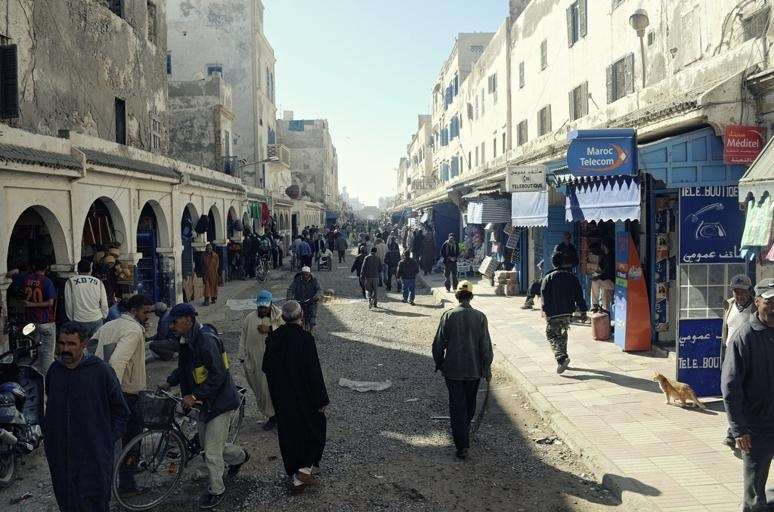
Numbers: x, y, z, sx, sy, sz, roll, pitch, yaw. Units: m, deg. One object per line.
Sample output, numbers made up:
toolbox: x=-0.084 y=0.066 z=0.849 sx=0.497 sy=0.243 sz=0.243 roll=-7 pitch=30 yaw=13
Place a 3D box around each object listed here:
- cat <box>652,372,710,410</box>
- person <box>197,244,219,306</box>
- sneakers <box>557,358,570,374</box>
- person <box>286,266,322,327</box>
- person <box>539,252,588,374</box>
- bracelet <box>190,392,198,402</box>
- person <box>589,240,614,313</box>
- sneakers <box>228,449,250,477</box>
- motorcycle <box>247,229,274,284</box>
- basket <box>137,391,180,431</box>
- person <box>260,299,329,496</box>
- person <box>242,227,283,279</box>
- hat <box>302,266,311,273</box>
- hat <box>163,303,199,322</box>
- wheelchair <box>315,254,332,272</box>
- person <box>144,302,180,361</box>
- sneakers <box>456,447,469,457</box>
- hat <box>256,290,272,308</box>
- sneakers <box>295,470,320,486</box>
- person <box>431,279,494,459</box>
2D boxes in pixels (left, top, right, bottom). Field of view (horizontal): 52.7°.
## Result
cat: x=4.958 y=2.275 z=13.235 sx=0.807 sy=0.471 sz=0.408 roll=2 pitch=13 yaw=20
person: x=-5.170 y=0.547 z=22.704 sx=0.504 sy=1.747 sz=0.709 roll=-6 pitch=13 yaw=-14
sneakers: x=3.300 y=2.052 z=14.657 sx=0.162 sy=0.373 sz=0.154 roll=12 pitch=14 yaw=-28
person: x=-1.864 y=1.015 z=17.503 sx=0.726 sy=1.527 sz=1.750 roll=3 pitch=11 yaw=0
person: x=3.402 y=1.048 z=14.844 sx=0.813 sy=2.194 sz=0.935 roll=-5 pitch=12 yaw=-8
bracelet: x=-2.782 y=2.049 z=11.270 sx=0.038 sy=0.101 sz=0.085 roll=-37 pitch=48 yaw=-6
person: x=4.650 y=0.456 z=16.848 sx=0.410 sy=1.541 sz=1.188 roll=-2 pitch=12 yaw=5
sneakers: x=-2.244 y=3.164 z=11.804 sx=0.182 sy=0.236 sz=0.514 roll=-20 pitch=-7 yaw=-14
motorcycle: x=-4.597 y=0.015 z=28.374 sx=0.851 sy=1.097 sz=1.744 roll=-1 pitch=6 yaw=-5
basket: x=-3.387 y=2.121 z=11.318 sx=0.546 sy=0.551 sz=0.568 roll=9 pitch=13 yaw=-12
person: x=-1.334 y=2.045 z=11.610 sx=0.773 sy=2.613 sz=0.844 roll=-9 pitch=14 yaw=-25
person: x=-4.773 y=-0.172 z=29.393 sx=0.985 sy=1.360 sz=2.240 roll=0 pitch=7 yaw=5
hat: x=-1.788 y=0.288 z=17.237 sx=0.207 sy=0.109 sz=0.289 roll=7 pitch=-5 yaw=3
hat: x=-3.031 y=0.829 z=11.419 sx=0.333 sy=0.185 sz=0.251 roll=1 pitch=3 yaw=14
wheelchair: x=-2.585 y=0.295 z=32.155 sx=0.485 sy=0.733 sz=0.730 roll=0 pitch=-7 yaw=-2
person: x=-4.607 y=1.503 z=16.170 sx=0.628 sy=1.162 sz=0.603 roll=-8 pitch=13 yaw=-19
sneakers: x=1.152 y=3.043 z=12.122 sx=0.215 sy=0.145 sz=0.133 roll=0 pitch=13 yaw=14
hat: x=-2.026 y=0.700 z=12.923 sx=0.252 sy=0.229 sz=0.405 roll=2 pitch=-4 yaw=-7
sneakers: x=-1.231 y=3.242 z=11.535 sx=0.418 sy=0.235 sz=0.152 roll=3 pitch=14 yaw=-31
person: x=1.226 y=1.757 z=12.285 sx=0.789 sy=2.573 sz=0.783 roll=-10 pitch=14 yaw=-28
